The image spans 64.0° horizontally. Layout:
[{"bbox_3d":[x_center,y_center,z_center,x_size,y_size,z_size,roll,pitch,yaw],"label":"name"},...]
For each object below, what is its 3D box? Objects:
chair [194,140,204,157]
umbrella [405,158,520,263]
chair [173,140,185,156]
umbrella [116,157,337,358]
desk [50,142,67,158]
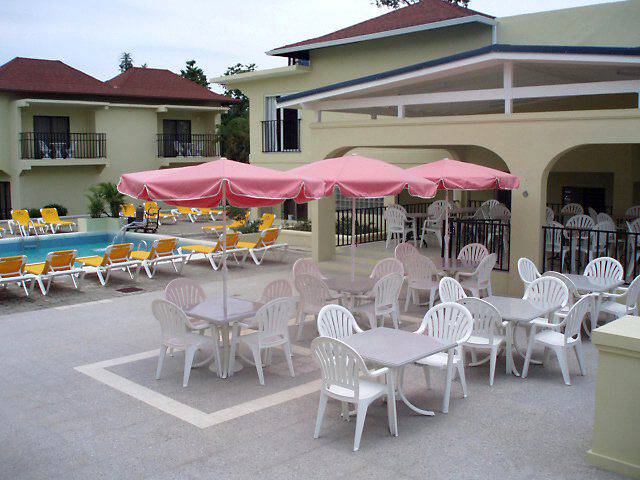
[{"bbox_3d":[-7.962,-5.986,33.358,0.627,1.023,0.669,-3,10,-17],"label":"chair"},{"bbox_3d":[3.233,-0.569,11.654,2.228,2.542,2.262,6,14,26],"label":"umbrella"},{"bbox_3d":[-8.962,-5.824,32.704,0.871,0.991,0.476,-4,10,-20],"label":"chair"},{"bbox_3d":[-1.524,0.262,8.761,2.907,3.314,3.038,2,8,18],"label":"umbrella"},{"bbox_3d":[-14.744,-5.104,29.048,0.841,1.246,0.837,-4,5,-37],"label":"desk"}]
